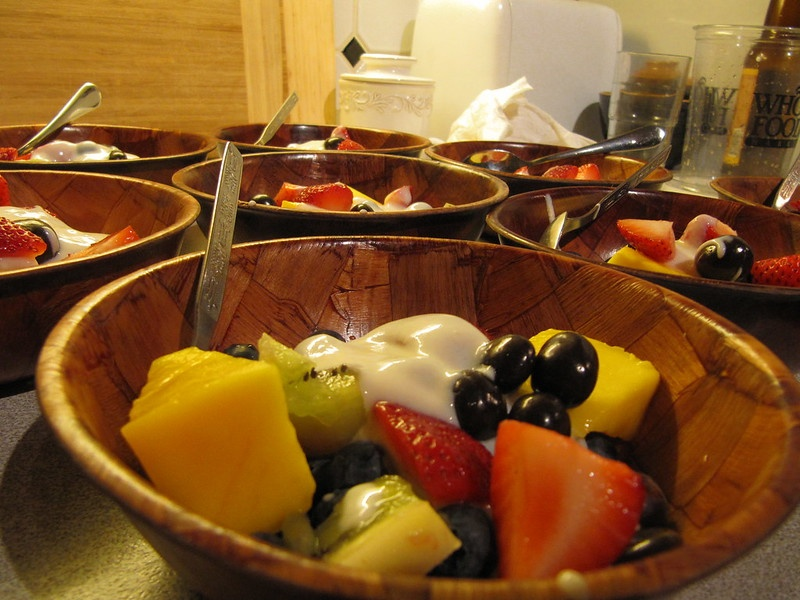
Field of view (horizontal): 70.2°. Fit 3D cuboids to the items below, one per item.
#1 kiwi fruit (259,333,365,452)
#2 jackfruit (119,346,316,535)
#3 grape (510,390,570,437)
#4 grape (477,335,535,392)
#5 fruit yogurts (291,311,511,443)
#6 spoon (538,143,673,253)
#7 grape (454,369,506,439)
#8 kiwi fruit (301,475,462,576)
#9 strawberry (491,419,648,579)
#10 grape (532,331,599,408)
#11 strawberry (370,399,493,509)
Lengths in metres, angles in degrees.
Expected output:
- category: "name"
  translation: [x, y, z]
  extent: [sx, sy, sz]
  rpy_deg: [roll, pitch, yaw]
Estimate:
- category: "kiwi fruit"
  translation: [-0.099, 0.095, 0.564]
  extent: [0.081, 0.062, 0.101]
  rpy_deg: [9, 36, -50]
- category: "jackfruit"
  translation: [-0.152, 0.109, 0.438]
  extent: [0.147, 0.126, 0.092]
  rpy_deg: [20, 28, 33]
- category: "grape"
  translation: [0.125, 0.101, 0.520]
  extent: [0.040, 0.037, 0.049]
  rpy_deg: [1, 12, -5]
- category: "grape"
  translation: [0.108, 0.057, 0.615]
  extent: [0.046, 0.045, 0.062]
  rpy_deg: [29, 44, 26]
- category: "fruit yogurts"
  translation: [0.007, 0.067, 0.589]
  extent: [0.166, 0.042, 0.124]
  rpy_deg: [-14, 40, -29]
- category: "spoon"
  translation: [0.367, -0.173, 0.964]
  extent: [0.126, 0.033, 0.316]
  rpy_deg: [-4, -10, -3]
- category: "grape"
  translation: [0.065, 0.097, 0.560]
  extent: [0.047, 0.046, 0.060]
  rpy_deg: [-7, 47, -14]
- category: "kiwi fruit"
  translation: [-0.021, 0.147, 0.395]
  extent: [0.074, 0.024, 0.074]
  rpy_deg: [12, 26, 44]
- category: "strawberry"
  translation: [0.120, 0.158, 0.419]
  extent: [0.115, 0.090, 0.089]
  rpy_deg: [10, 24, 13]
- category: "grape"
  translation: [0.161, 0.067, 0.551]
  extent: [0.057, 0.074, 0.042]
  rpy_deg: [23, -6, 27]
- category: "strawberry"
  translation: [0.029, 0.132, 0.505]
  extent: [0.061, 0.035, 0.100]
  rpy_deg: [-15, 45, -29]
